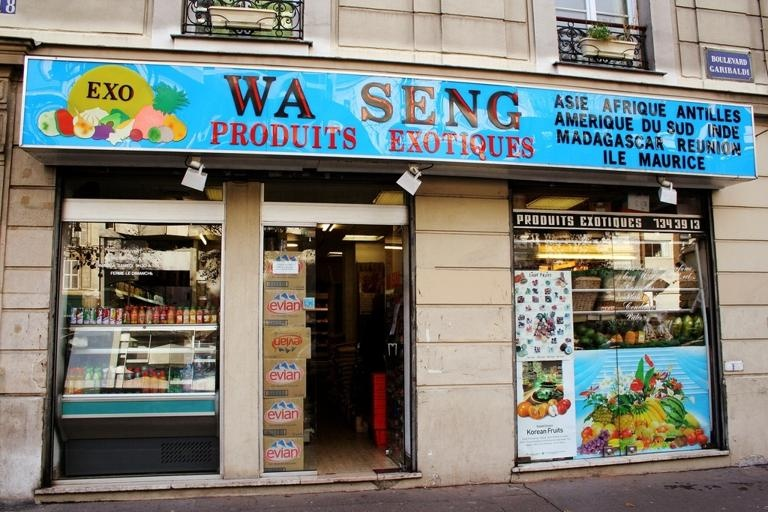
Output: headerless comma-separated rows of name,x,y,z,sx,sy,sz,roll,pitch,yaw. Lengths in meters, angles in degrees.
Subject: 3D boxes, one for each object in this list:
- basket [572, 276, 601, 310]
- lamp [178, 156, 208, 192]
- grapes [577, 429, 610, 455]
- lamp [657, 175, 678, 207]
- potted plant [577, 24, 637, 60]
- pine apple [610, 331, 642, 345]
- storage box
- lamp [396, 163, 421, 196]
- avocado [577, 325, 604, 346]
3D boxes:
basket,2.955,0.548,11.157,0.471,0.548,0.516,0,-7,11
lamp,-2.427,-1.058,9.796,0.289,0.417,0.248,-1,9,-12
grapes,2.952,2.613,10.719,0.389,0.211,0.385,-7,23,-18
lamp,3.979,-0.941,10.676,0.321,0.494,0.163,14,-21,6
potted plant,3.262,-3.053,11.024,0.779,0.301,0.500,6,-8,2
pine apple,3.473,1.165,10.961,0.498,0.190,0.080,-1,9,-15
storage box,-1.317,1.395,10.305,0.579,2.831,0.730,0,9,-7
lamp,0.341,-1.037,10.132,0.261,0.345,0.191,37,-3,-12
avocado,2.924,1.141,10.877,0.444,0.219,0.236,11,-31,-21
